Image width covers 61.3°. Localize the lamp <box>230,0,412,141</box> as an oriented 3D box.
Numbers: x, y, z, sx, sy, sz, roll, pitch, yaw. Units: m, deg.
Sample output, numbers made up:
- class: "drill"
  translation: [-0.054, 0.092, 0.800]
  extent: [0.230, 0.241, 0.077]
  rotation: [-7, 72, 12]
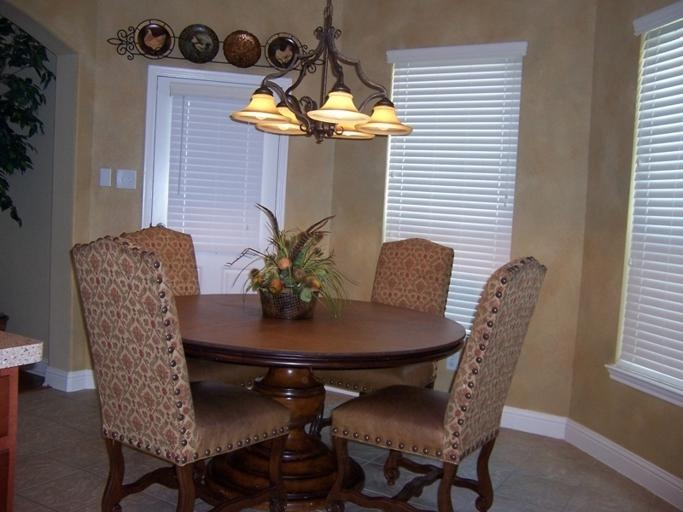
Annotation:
- class: "lamp"
  translation: [-0.097, -1.052, 3.257]
  extent: [0.916, 0.799, 0.740]
  rotation: [10, 10, 35]
